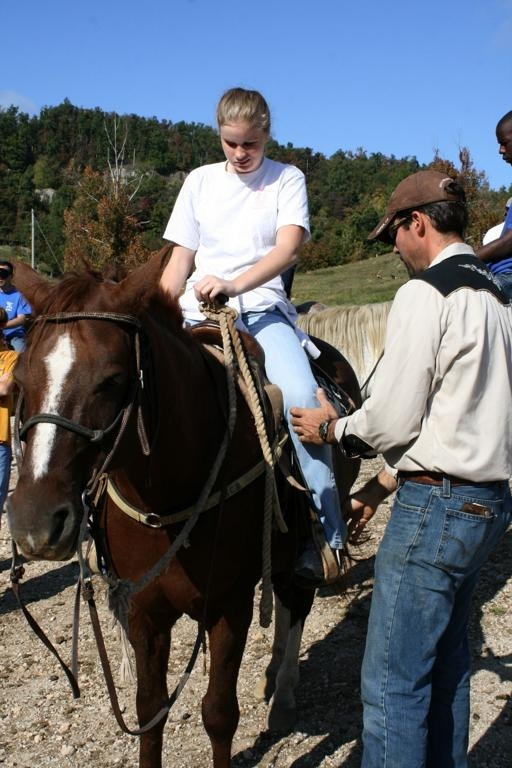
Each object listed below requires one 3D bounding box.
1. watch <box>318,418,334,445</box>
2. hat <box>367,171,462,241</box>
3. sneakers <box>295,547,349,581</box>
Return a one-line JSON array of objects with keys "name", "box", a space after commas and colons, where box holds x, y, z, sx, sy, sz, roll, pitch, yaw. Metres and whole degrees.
[{"name": "watch", "box": [0.251, 0.174, 2.407, 0.078, 0.085, 0.057, 1, 3, -41]}, {"name": "hat", "box": [0.532, -0.581, 2.269, 0.307, 0.159, 0.197, -14, 8, 14]}, {"name": "sneakers", "box": [0.268, 0.752, 2.780, 0.164, 0.090, 0.216, -3, -4, -8]}]
